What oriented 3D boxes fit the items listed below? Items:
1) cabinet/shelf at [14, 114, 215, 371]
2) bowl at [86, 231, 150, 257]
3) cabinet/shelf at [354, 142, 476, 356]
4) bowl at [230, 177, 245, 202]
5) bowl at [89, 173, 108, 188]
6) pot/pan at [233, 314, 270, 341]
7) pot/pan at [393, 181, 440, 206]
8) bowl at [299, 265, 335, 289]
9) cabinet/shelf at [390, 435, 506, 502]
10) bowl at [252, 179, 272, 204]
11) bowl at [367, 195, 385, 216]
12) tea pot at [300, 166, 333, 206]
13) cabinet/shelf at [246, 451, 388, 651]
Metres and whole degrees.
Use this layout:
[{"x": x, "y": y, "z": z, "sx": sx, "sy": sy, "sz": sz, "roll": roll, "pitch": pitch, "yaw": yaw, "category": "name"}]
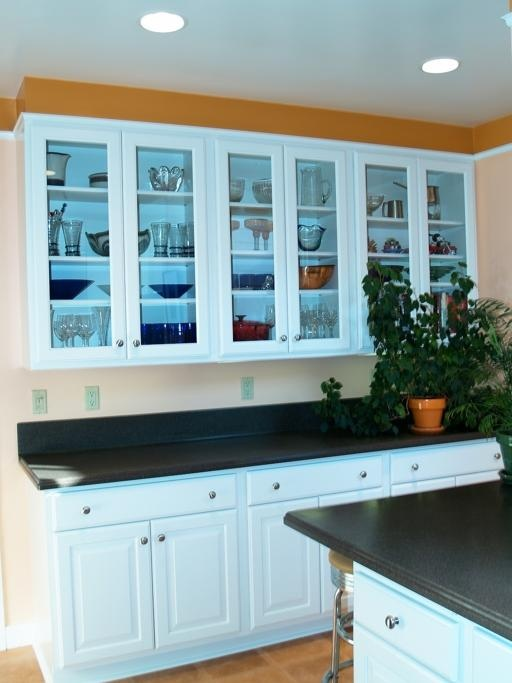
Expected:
[{"x": -0.563, "y": -0.387, "z": 2.468, "sx": 0.745, "sy": 0.963, "sz": 0.253, "roll": -3, "pitch": 13, "yaw": -20, "category": "cabinet/shelf"}, {"x": -0.547, "y": -0.396, "z": 2.371, "sx": 0.255, "sy": 0.093, "sz": 0.018, "roll": -2, "pitch": 0, "yaw": -21, "category": "bowl"}, {"x": 0.800, "y": -0.543, "z": 2.996, "sx": 0.487, "sy": 0.735, "sz": 0.213, "roll": -1, "pitch": -12, "yaw": 7, "category": "cabinet/shelf"}, {"x": -0.086, "y": -0.661, "z": 2.583, "sx": 0.088, "sy": 0.098, "sz": 0.085, "roll": -1, "pitch": 11, "yaw": 0, "category": "bowl"}, {"x": -0.624, "y": -0.639, "z": 2.345, "sx": 0.062, "sy": 0.058, "sz": 0.062, "roll": 0, "pitch": 1, "yaw": 0, "category": "bowl"}, {"x": -0.030, "y": -0.057, "z": 2.597, "sx": 0.115, "sy": 0.072, "sz": 0.114, "roll": 0, "pitch": -2, "yaw": -24, "category": "pot/pan"}, {"x": 0.833, "y": -0.725, "z": 3.029, "sx": 0.156, "sy": 0.165, "sz": 0.149, "roll": 0, "pitch": 1, "yaw": 8, "category": "pot/pan"}, {"x": 0.270, "y": -0.303, "z": 2.749, "sx": 0.124, "sy": 0.079, "sz": 0.123, "roll": -3, "pitch": 3, "yaw": 0, "category": "bowl"}, {"x": 0.917, "y": 0.563, "z": 2.834, "sx": 0.653, "sy": 0.218, "sz": 0.245, "roll": -8, "pitch": 10, "yaw": 0, "category": "cabinet/shelf"}, {"x": 0.025, "y": -0.671, "z": 2.637, "sx": 0.090, "sy": 0.077, "sz": 0.101, "roll": 0, "pitch": -1, "yaw": 28, "category": "bowl"}, {"x": 0.574, "y": -0.662, "z": 2.903, "sx": 0.094, "sy": 0.110, "sz": 0.096, "roll": -2, "pitch": 5, "yaw": 0, "category": "bowl"}, {"x": 0.261, "y": -0.721, "z": 2.739, "sx": 0.193, "sy": 0.198, "sz": 0.113, "roll": 0, "pitch": -1, "yaw": -6, "category": "tea pot"}, {"x": 0.243, "y": 0.830, "z": 2.572, "sx": 0.670, "sy": 0.683, "sz": 0.243, "roll": -4, "pitch": 3, "yaw": -14, "category": "cabinet/shelf"}]
